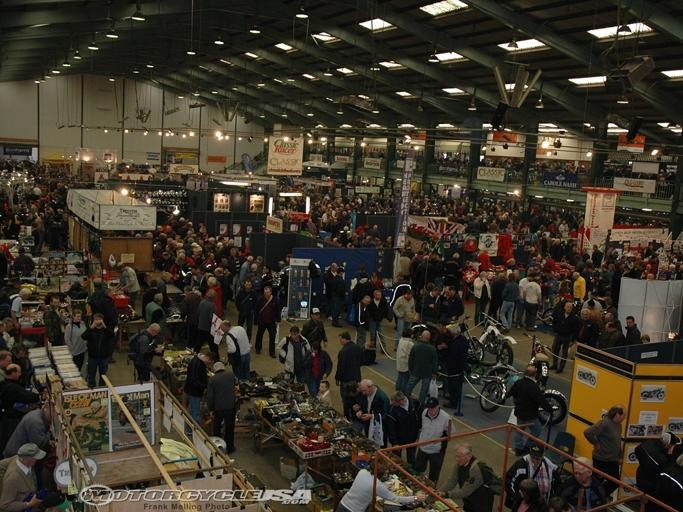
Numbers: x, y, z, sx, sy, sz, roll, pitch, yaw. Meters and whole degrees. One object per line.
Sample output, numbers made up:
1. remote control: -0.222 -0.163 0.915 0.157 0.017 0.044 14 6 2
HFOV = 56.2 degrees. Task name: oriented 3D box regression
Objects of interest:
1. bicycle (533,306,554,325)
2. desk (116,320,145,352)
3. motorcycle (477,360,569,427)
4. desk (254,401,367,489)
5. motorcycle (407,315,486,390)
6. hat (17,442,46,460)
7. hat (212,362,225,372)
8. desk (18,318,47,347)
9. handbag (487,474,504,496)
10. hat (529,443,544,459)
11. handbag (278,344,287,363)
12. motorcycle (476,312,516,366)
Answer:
1. bicycle: 5.903 1.765 18.776 0.495 0.531 0.196 25 3 32
2. desk: -4.919 1.855 14.931 0.570 0.977 0.694 -1 35 -24
3. motorcycle: 3.837 2.918 13.578 1.763 1.090 1.209 32 4 32
4. desk: -0.511 3.423 11.530 1.148 1.157 2.400 -3 7 -36
5. motorcycle: 2.401 2.230 14.114 1.225 1.623 3.102 3 6 19
6. hat: -4.594 2.914 9.489 0.353 0.196 0.238 10 24 -30
7. hat: -2.291 2.092 11.944 0.156 0.245 0.314 -1 6 -18
8. desk: -7.164 1.763 14.804 0.452 0.911 0.471 14 17 25
9. handbag: 2.372 3.561 9.918 0.213 0.415 0.327 -4 7 4
10. hat: 3.047 3.034 10.013 0.209 0.138 0.396 3 6 17
11. handbag: -1.230 2.063 13.386 0.129 0.433 0.436 0 5 -11
12. motorcycle: 3.823 2.080 15.944 0.795 1.032 1.606 0 16 -12
